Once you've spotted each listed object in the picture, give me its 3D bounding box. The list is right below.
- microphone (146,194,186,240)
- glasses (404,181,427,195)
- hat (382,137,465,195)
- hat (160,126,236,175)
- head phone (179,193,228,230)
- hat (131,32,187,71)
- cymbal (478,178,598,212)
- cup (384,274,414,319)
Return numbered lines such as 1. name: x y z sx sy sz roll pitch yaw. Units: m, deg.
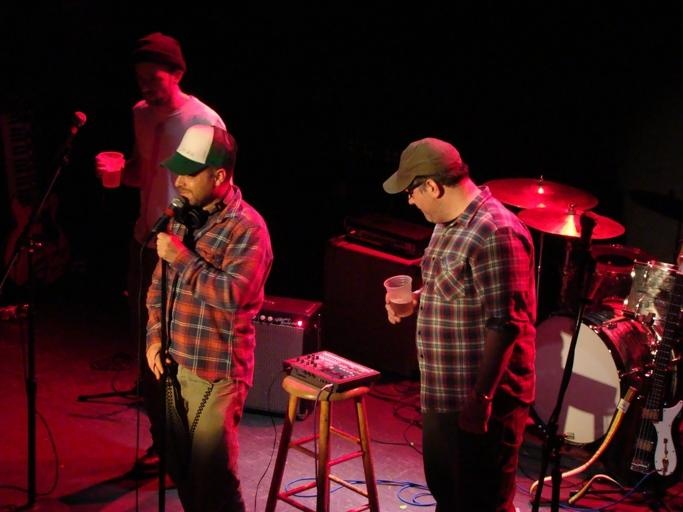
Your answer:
1. microphone: -0.736 -0.146 2.305 0.131 0.209 0.242 9 -8 -17
2. glasses: 0.322 -0.306 2.400 0.064 0.026 0.047 -44 -13 21
3. hat: 0.364 -0.411 2.417 0.333 0.174 0.219 -6 17 12
4. hat: -0.634 -0.471 2.435 0.317 0.166 0.201 -6 24 -29
5. head phone: -0.655 -0.183 2.383 0.132 0.059 0.166 20 28 20
6. hat: -1.201 -1.355 3.602 0.319 0.288 0.205 10 -9 -26
7. cymbal: 1.514 -0.460 4.099 0.390 0.076 0.371 4 28 -12
8. cup: 0.314 0.209 2.893 0.192 0.197 0.191 -3 8 0
